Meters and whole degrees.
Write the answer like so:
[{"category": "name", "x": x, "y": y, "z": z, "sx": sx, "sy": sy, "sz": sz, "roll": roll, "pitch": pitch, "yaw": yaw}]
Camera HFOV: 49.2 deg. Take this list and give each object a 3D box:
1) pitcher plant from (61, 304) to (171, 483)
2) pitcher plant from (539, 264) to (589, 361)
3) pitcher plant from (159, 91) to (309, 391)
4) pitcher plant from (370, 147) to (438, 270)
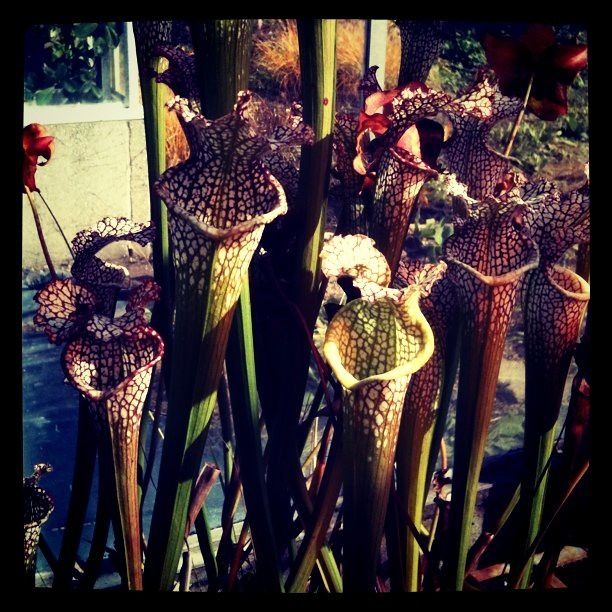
[{"category": "pitcher plant", "x": -0.390, "y": 0.244, "z": 1.371, "sx": 0.175, "sy": 0.482, "sz": 0.178, "roll": 2, "pitch": 10, "yaw": 35}, {"category": "pitcher plant", "x": 0.528, "y": -0.001, "z": 1.386, "sx": 0.104, "sy": 0.171, "sz": 0.066, "roll": 6, "pitch": 17, "yaw": 6}, {"category": "pitcher plant", "x": -0.141, "y": -0.168, "z": 1.272, "sx": 0.280, "sy": 0.461, "sz": 0.093, "roll": 3, "pitch": 17, "yaw": -1}, {"category": "pitcher plant", "x": 0.189, "y": -0.196, "z": 1.324, "sx": 0.094, "sy": 0.306, "sz": 0.104, "roll": -10, "pitch": 29, "yaw": -43}]
